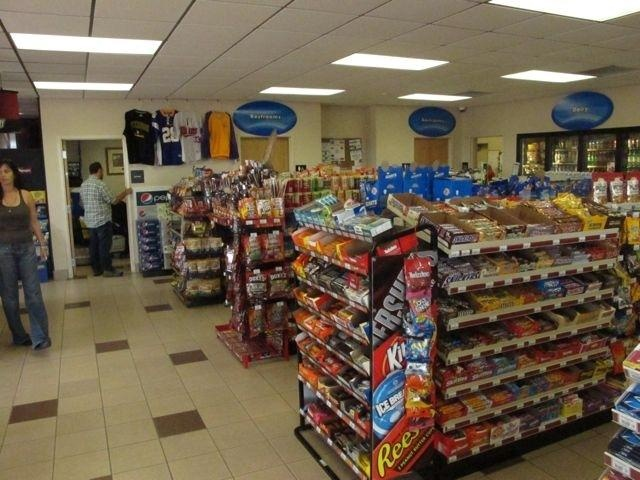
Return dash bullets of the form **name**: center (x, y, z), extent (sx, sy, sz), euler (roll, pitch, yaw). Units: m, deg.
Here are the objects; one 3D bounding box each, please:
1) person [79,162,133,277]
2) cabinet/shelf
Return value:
- **person**: center (-4.261, -0.237, 9.186), extent (0.604, 1.969, 0.395), euler (-5, 14, -18)
- **cabinet/shelf**: center (0.597, 0.452, 4.399), extent (2.479, 1.476, 2.550), euler (-7, 12, -35)
